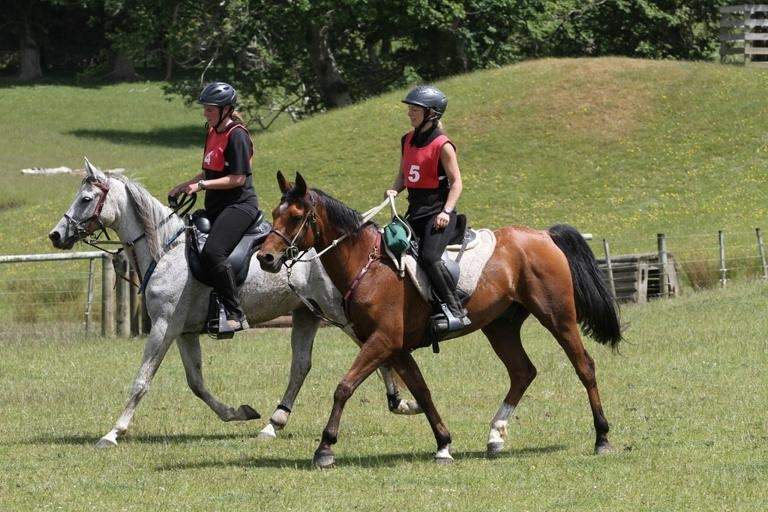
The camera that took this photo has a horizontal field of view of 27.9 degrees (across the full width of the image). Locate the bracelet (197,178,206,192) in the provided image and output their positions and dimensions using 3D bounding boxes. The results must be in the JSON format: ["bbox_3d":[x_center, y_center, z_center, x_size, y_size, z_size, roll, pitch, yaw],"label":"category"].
[{"bbox_3d":[-6.835,-2.594,58.180,0.208,0.319,0.320,2,-2,2],"label":"bracelet"}]
